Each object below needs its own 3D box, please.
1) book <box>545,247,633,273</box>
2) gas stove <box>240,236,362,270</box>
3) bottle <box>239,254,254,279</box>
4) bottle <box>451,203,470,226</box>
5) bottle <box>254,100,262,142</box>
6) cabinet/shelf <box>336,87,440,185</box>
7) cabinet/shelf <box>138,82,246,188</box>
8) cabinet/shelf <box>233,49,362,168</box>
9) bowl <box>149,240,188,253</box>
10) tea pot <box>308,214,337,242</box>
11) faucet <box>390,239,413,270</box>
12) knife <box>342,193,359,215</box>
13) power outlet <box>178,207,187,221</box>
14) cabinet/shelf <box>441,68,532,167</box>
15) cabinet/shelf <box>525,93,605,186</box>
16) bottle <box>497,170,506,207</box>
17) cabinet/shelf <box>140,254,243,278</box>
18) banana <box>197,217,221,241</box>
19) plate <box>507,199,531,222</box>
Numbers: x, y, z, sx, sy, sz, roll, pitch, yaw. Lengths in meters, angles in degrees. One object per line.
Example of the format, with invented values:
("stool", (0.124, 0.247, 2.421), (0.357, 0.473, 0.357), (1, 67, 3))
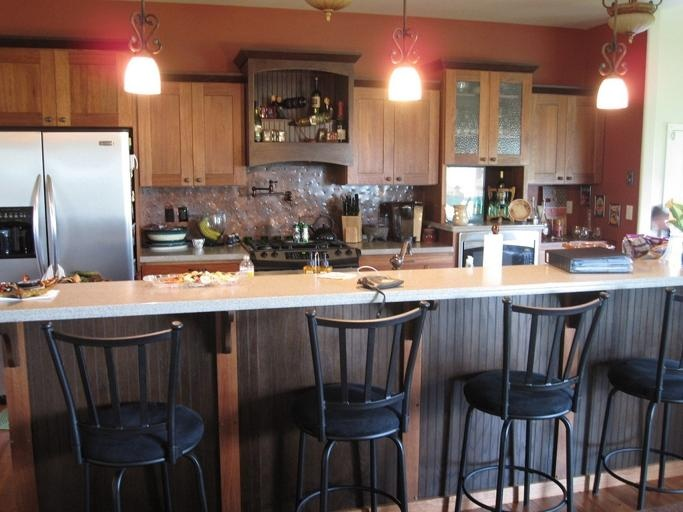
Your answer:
("book", (1.526, 0.021, 3.711), (0.428, 0.123, 0.300), (-3, 9, -3))
("gas stove", (-0.425, -0.021, 5.457), (1.171, 0.248, 0.657), (0, 9, 13))
("bottle", (-0.557, 0.045, 3.543), (0.072, 0.120, 0.250), (-3, 9, -5))
("bottle", (1.154, -0.405, 5.896), (0.186, 0.190, 0.150), (2, 4, 33))
("bottle", (-0.765, -1.235, 5.526), (0.077, 0.375, 0.277), (-3, 9, -7))
("cabinet/shelf", (0.459, -1.146, 5.937), (0.917, 0.900, 0.450), (-3, 8, -14))
("cabinet/shelf", (-1.412, -1.145, 5.577), (0.970, 0.951, 0.439), (-7, 20, -29))
("cabinet/shelf", (-0.423, -1.371, 5.559), (1.063, 1.064, 0.403), (-1, 2, -13))
("bowl", (-1.556, -0.095, 5.462), (0.354, 0.082, 0.409), (-5, 9, -16))
("tea pot", (-0.185, -0.283, 5.876), (0.277, 0.289, 0.214), (-1, 4, -11))
("faucet", (0.477, -0.009, 4.777), (0.134, 0.149, 0.355), (11, 26, 22))
("knife", (0.093, -0.519, 5.990), (0.180, 0.204, 0.269), (-2, 9, 0))
("power outlet", (-1.508, -0.404, 5.743), (0.087, 0.147, 0.050), (-6, 10, -25))
("cabinet/shelf", (1.359, -1.363, 5.792), (0.829, 0.831, 0.329), (0, 6, -9))
("cabinet/shelf", (2.190, -1.199, 6.010), (0.870, 0.900, 0.341), (-1, 5, -14))
("bottle", (1.625, -0.690, 6.111), (0.092, 0.358, 0.272), (0, 9, 15))
("cabinet/shelf", (-1.304, 0.024, 5.226), (0.639, 0.243, 0.606), (-1, 4, -8))
("banana", (-1.238, -0.256, 5.689), (0.193, 0.218, 0.131), (-6, 10, -25))
("plate", (1.751, -0.448, 5.937), (0.222, 0.226, 0.077), (1, 10, 16))
